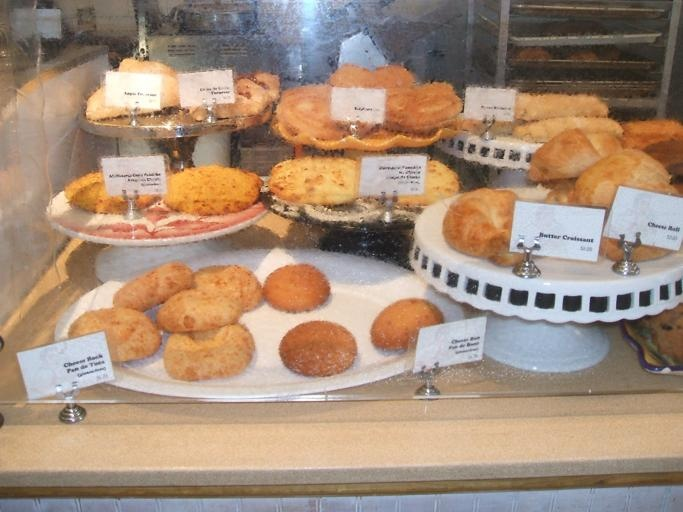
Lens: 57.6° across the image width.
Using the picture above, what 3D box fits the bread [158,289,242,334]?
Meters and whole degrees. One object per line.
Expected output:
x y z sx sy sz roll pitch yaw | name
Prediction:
-0.333 0.126 1.479 0.176 0.042 0.105 1 20 -3 | bread

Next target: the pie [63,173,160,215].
-0.634 -0.175 1.675 0.186 0.037 0.136 8 17 20 | pie

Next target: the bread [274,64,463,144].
0.072 -0.360 1.553 0.370 0.077 0.233 2 33 1 | bread

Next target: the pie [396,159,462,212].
0.230 -0.185 1.612 0.165 0.122 0.045 -9 32 -20 | pie

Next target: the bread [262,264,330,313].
-0.115 0.069 1.649 0.190 0.036 0.147 -19 58 -13 | bread

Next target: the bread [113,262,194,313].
-0.447 0.083 1.584 0.212 0.053 0.087 -18 40 -12 | bread

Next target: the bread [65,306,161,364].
-0.529 0.188 1.441 0.154 0.111 0.189 13 27 24 | bread

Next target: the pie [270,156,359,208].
-0.076 -0.198 1.635 0.272 0.128 0.072 9 30 18 | pie

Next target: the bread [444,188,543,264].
0.338 -0.060 1.440 0.189 0.057 0.190 -30 43 -14 | bread

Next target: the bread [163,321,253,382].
-0.305 0.223 1.446 0.210 0.085 0.121 -5 26 -14 | bread

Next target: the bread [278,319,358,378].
-0.046 0.199 1.492 0.231 0.059 0.143 1 57 36 | bread
